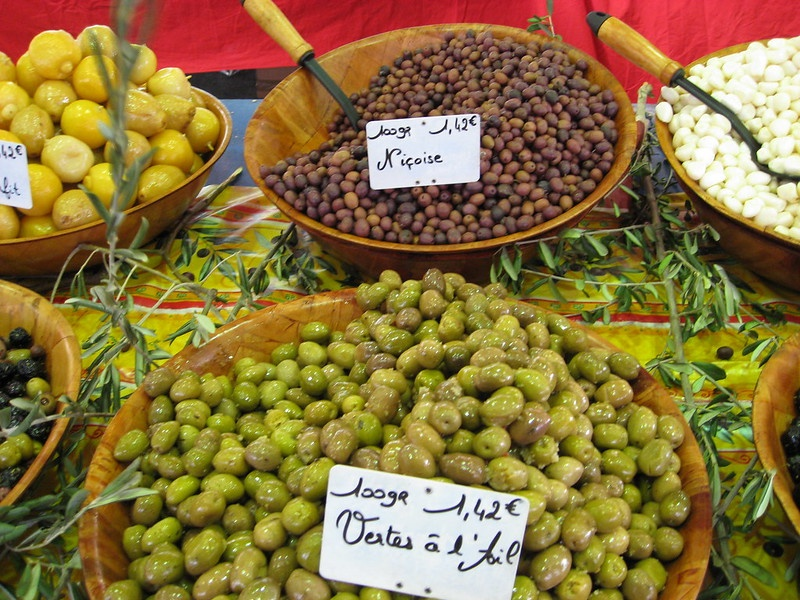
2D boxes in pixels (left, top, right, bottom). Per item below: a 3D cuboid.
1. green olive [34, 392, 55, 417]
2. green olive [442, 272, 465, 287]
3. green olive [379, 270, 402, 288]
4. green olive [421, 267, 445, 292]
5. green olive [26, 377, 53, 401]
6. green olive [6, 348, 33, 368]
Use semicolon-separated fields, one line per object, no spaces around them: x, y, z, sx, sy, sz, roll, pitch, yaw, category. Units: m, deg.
-0.862;0.255;1.695;0.063;0.054;0.050;-3;99;-19;green olive
0.143;-0.052;1.859;0.040;0.023;0.049;13;10;41;green olive
-0.025;-0.062;1.896;0.049;0.027;0.053;11;23;-16;green olive
0.086;-0.047;1.792;0.054;0.034;0.059;-17;61;2;green olive
-0.926;0.229;1.787;0.047;0.034;0.035;15;39;-5;green olive
-1.011;0.152;1.854;0.055;0.016;0.035;-24;53;-27;green olive
